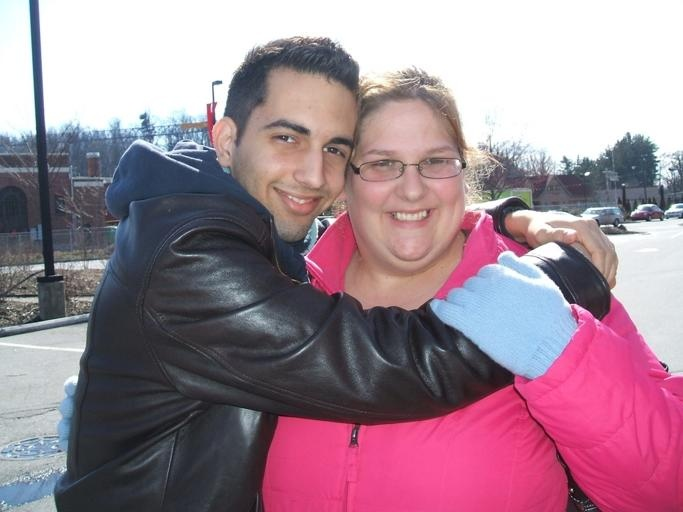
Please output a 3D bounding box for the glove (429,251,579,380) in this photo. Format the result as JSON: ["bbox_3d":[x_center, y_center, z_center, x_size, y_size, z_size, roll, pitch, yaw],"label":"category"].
[{"bbox_3d":[0.659,0.265,2.334,0.570,0.441,0.209,0,5,25],"label":"glove"}]
